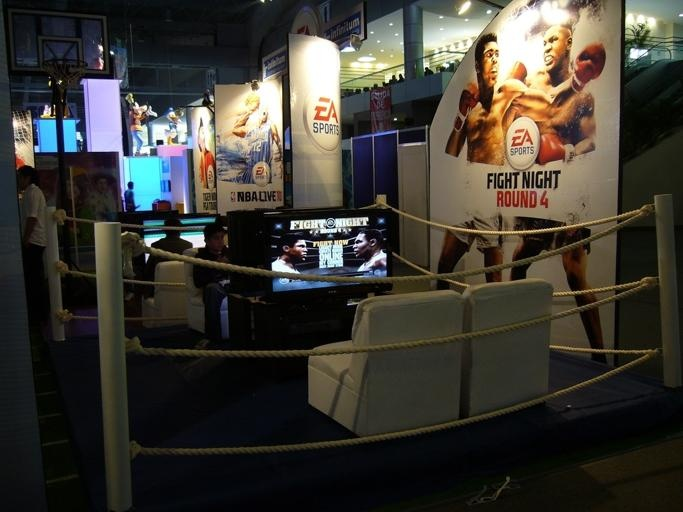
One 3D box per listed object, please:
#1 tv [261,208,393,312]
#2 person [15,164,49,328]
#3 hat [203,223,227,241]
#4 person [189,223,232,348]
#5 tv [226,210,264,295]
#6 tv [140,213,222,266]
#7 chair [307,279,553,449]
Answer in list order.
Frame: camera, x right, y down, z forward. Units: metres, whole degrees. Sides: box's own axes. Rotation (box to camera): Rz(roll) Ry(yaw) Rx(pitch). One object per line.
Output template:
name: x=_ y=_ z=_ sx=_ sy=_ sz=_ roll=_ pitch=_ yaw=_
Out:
tv: x=-0.107 y=0.030 z=4.969 sx=1.212 sy=0.884 sz=0.342 roll=-4 pitch=7 yaw=-24
person: x=-3.631 y=-0.155 z=6.722 sx=0.278 sy=1.795 sz=0.855 roll=-6 pitch=10 yaw=-29
hat: x=-1.288 y=-0.264 z=5.832 sx=0.172 sy=0.210 sz=0.220 roll=-5 pitch=12 yaw=-11
person: x=-1.300 y=0.242 z=5.654 sx=0.365 sy=1.123 sz=0.644 roll=-4 pitch=9 yaw=-15
tv: x=-0.856 y=-0.020 z=5.172 sx=0.332 sy=0.749 sz=0.685 roll=-3 pitch=9 yaw=-11
tv: x=-2.800 y=-0.462 z=9.795 sx=1.395 sy=1.006 sz=0.772 roll=-5 pitch=4 yaw=-11
chair: x=0.668 y=0.633 z=3.736 sx=1.528 sy=0.883 sz=0.507 roll=-4 pitch=9 yaw=-12
